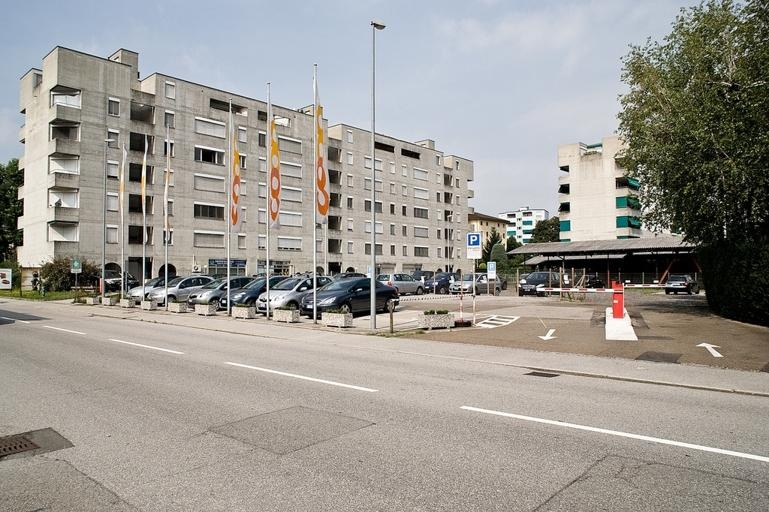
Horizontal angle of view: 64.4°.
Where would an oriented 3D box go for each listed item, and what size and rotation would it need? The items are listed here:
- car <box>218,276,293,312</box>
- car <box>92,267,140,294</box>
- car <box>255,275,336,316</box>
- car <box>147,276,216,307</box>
[{"bbox_3d":[-6.686,1.741,33.198,1.943,1.700,3.693,-19,5,-3],"label":"car"},{"bbox_3d":[-21.503,1.944,48.308,2.934,1.332,1.743,-8,-5,36],"label":"car"},{"bbox_3d":[-4.324,1.830,29.651,1.804,1.497,3.211,-5,-6,38],"label":"car"},{"bbox_3d":[-12.193,2.087,36.211,3.177,1.544,1.832,3,-5,-36],"label":"car"}]
